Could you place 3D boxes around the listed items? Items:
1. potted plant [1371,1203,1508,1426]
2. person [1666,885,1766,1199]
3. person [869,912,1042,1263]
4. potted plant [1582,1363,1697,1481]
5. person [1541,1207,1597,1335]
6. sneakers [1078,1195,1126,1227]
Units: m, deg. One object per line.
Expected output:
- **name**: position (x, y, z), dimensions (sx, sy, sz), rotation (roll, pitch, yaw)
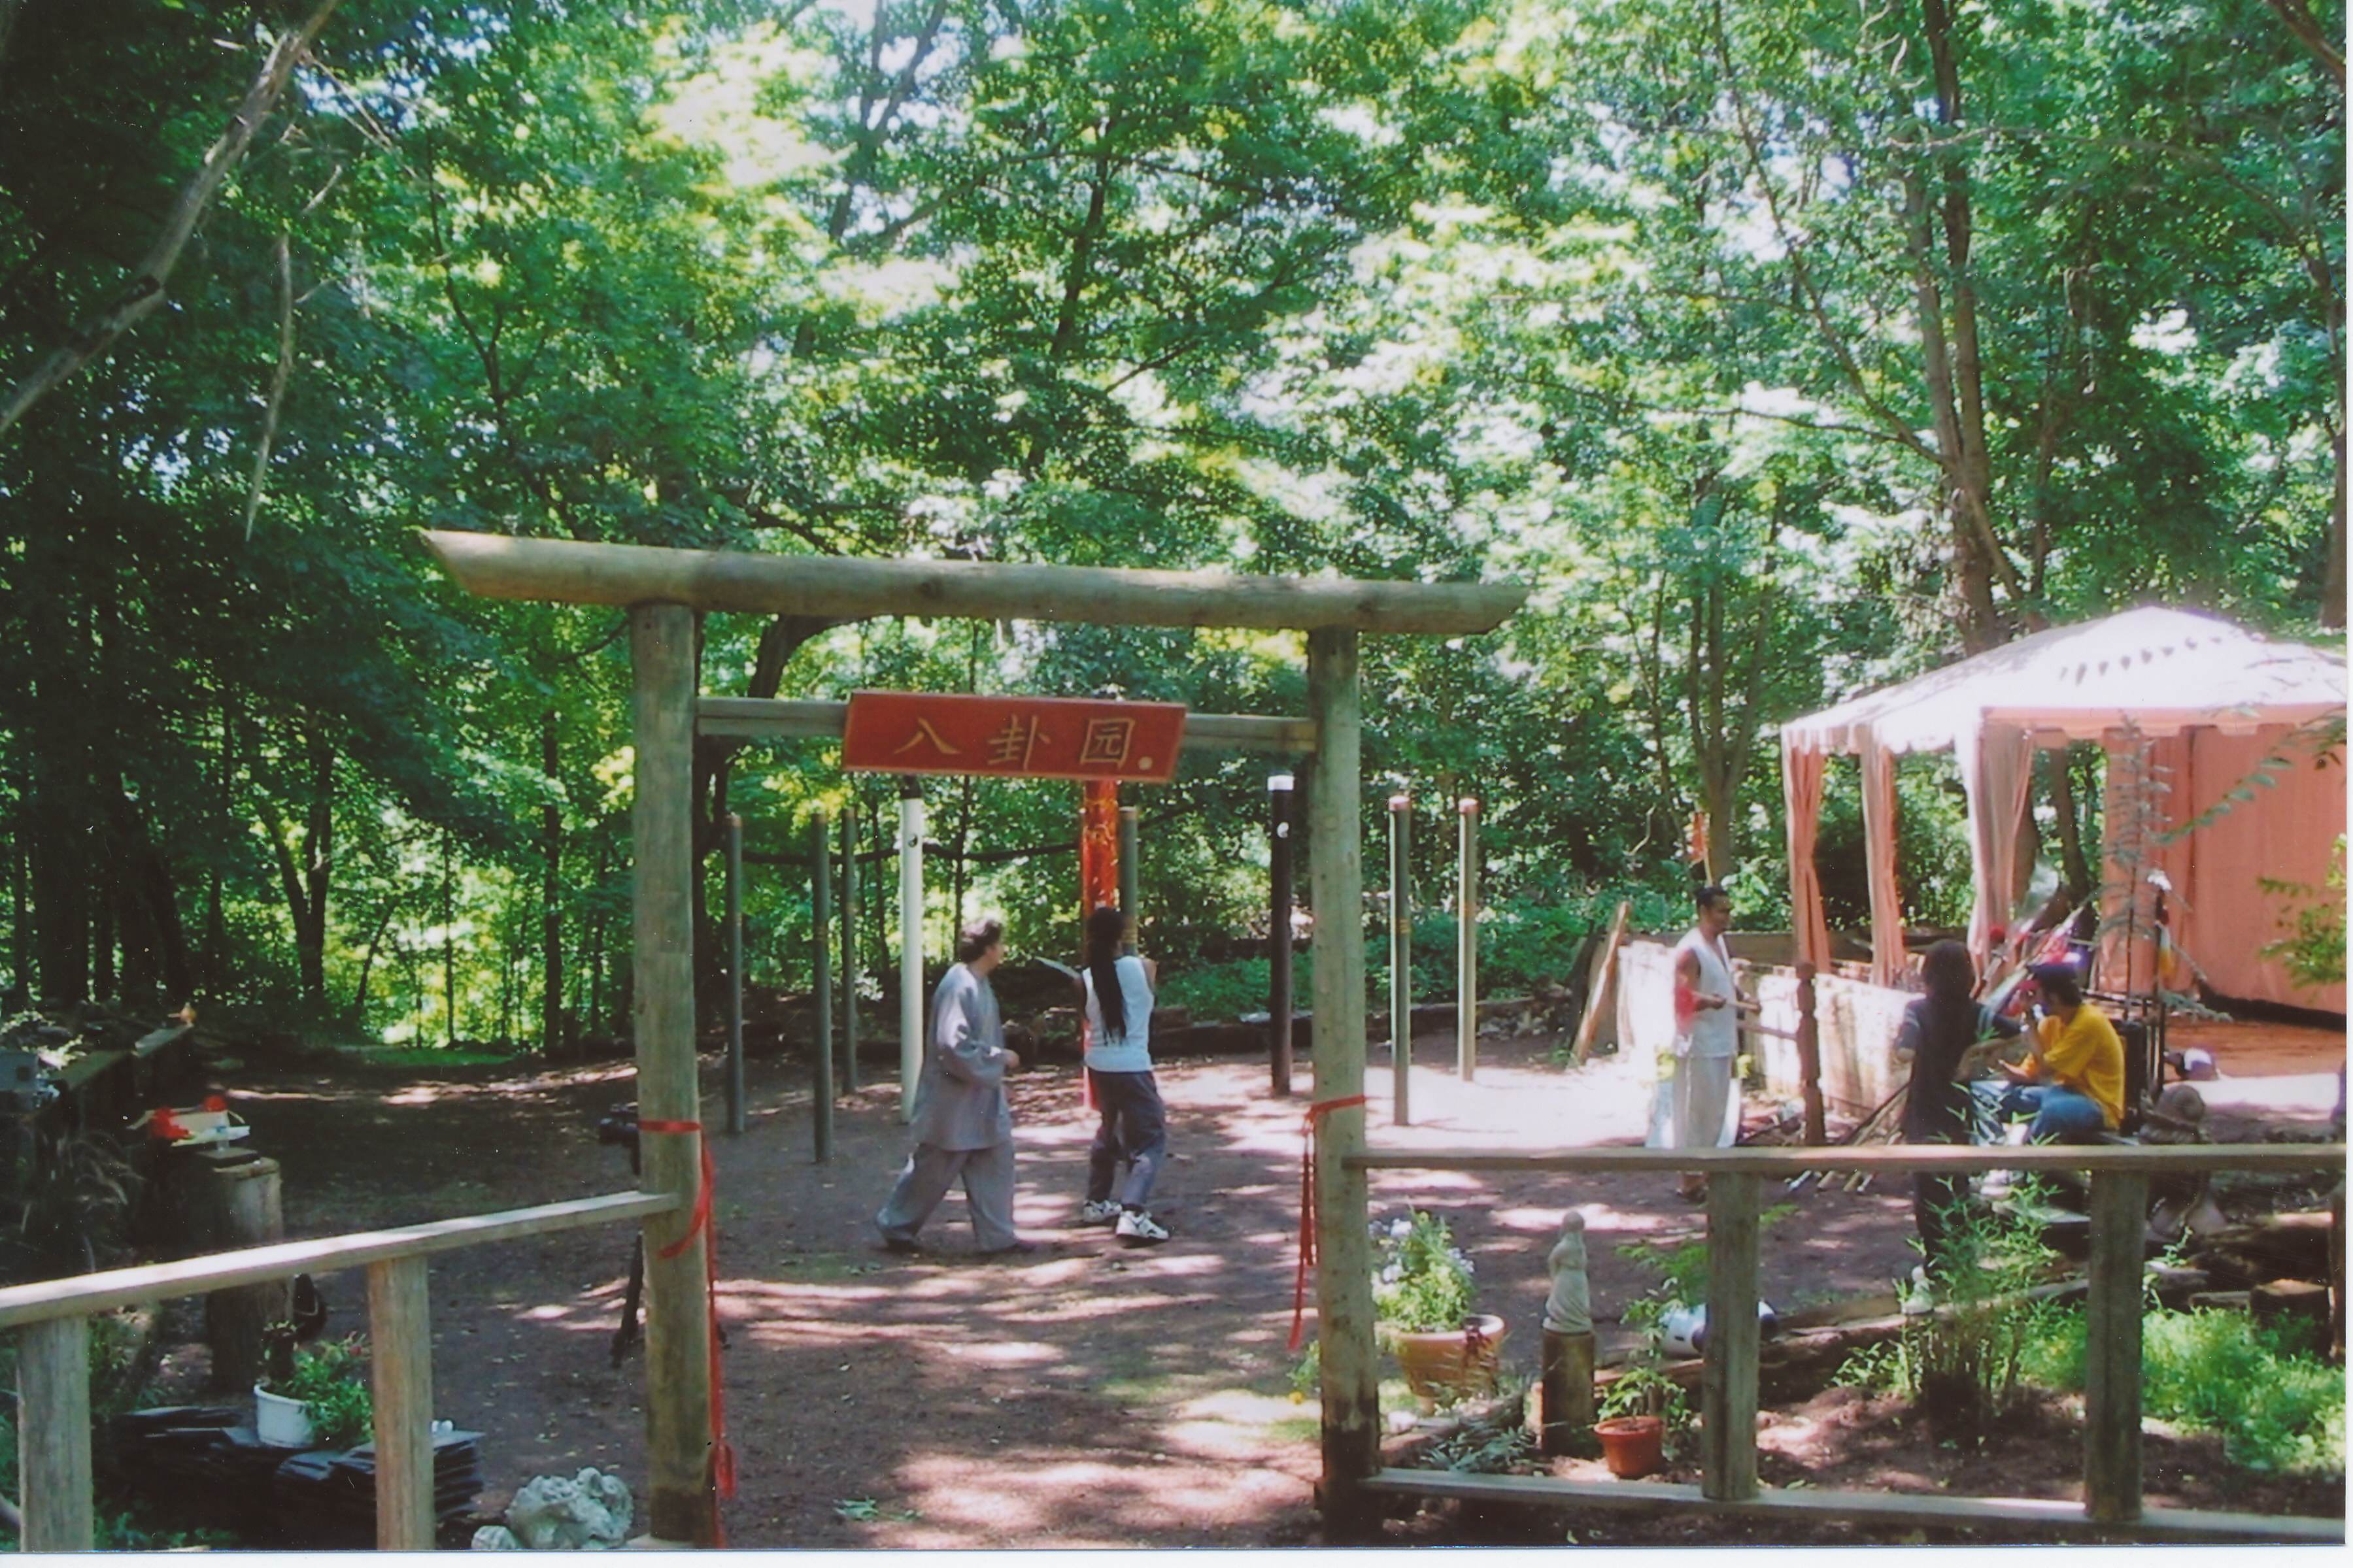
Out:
- **potted plant**: position (1.534, 3.256, 12.841), dimensions (0.608, 0.888, 0.547), rotation (-5, -7, -20)
- **person**: position (3.792, 1.668, 15.992), dimensions (0.537, 1.836, 0.605), rotation (-2, -6, 2)
- **person**: position (-1.607, 2.149, 15.649), dimensions (0.923, 2.328, 0.920), rotation (-1, -6, -7)
- **potted plant**: position (2.589, 3.576, 12.443), dimensions (0.542, 0.371, 0.575), rotation (-3, -7, 23)
- **person**: position (2.217, 2.779, 12.715), dimensions (0.251, 0.678, 0.737), rotation (-3, -6, 8)
- **sneakers**: position (-0.558, 3.180, 16.439), dimensions (0.174, 0.162, 0.365), rotation (5, 6, 32)
